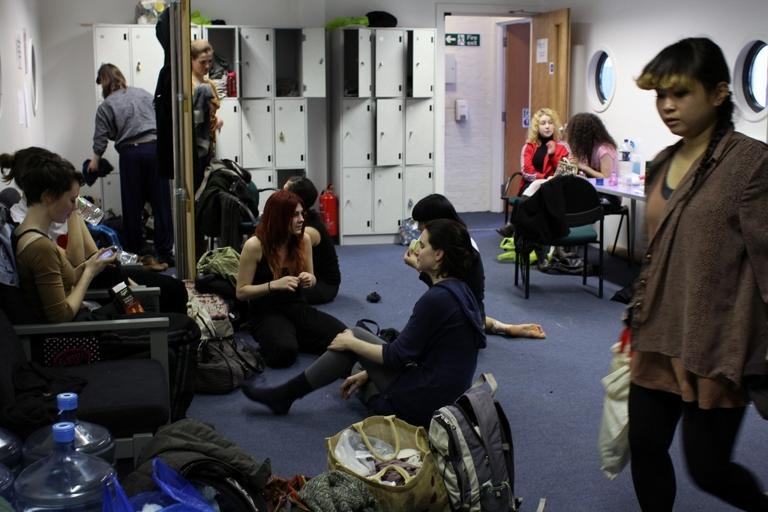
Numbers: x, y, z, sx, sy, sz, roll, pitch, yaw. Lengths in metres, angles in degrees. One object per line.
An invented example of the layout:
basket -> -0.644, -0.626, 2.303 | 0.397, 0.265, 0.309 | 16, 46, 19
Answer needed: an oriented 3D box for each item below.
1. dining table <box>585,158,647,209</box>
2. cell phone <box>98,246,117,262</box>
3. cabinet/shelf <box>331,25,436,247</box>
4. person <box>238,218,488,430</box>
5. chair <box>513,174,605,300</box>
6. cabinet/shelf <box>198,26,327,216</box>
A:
dining table -> 2.717, -0.855, 6.316 | 0.631, 0.240, 1.022 | -4, 27, -9
cell phone -> -1.649, -0.007, 3.234 | 0.104, 0.029, 0.079 | -27, 55, -2
cabinet/shelf -> -0.057, -1.767, 8.248 | 1.582, 3.087, 1.111 | -6, 14, -21
person -> -0.148, 0.390, 3.313 | 1.420, 1.204, 0.661 | 2, -1, 6
chair -> 1.919, -0.257, 6.077 | 1.064, 1.317, 1.135 | 1, 7, 29
cabinet/shelf -> -1.901, -1.797, 7.898 | 1.562, 2.856, 0.777 | -3, 20, -18
